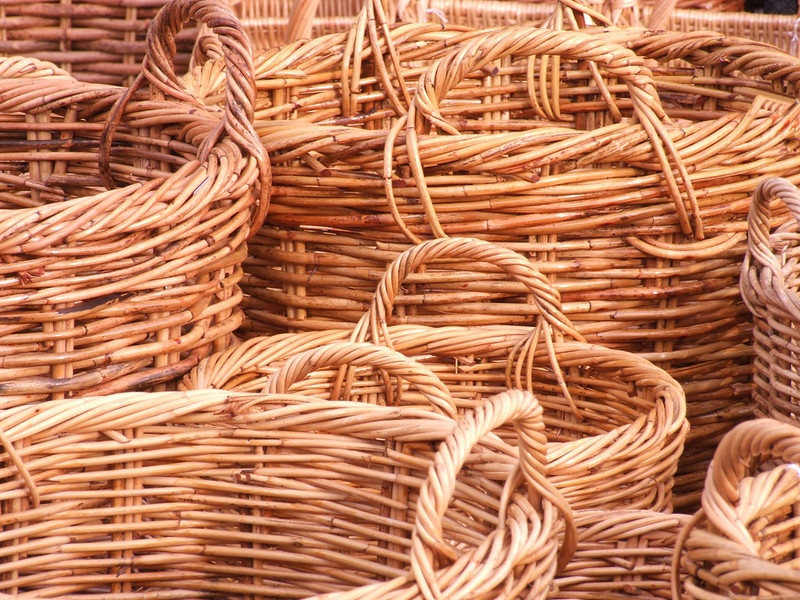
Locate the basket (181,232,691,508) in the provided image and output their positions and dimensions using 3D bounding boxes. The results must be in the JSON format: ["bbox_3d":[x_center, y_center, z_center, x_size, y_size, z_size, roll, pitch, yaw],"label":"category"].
[{"bbox_3d":[0.012,0.061,1.553,0.603,0.430,0.272,2,96,37],"label":"basket"}]
